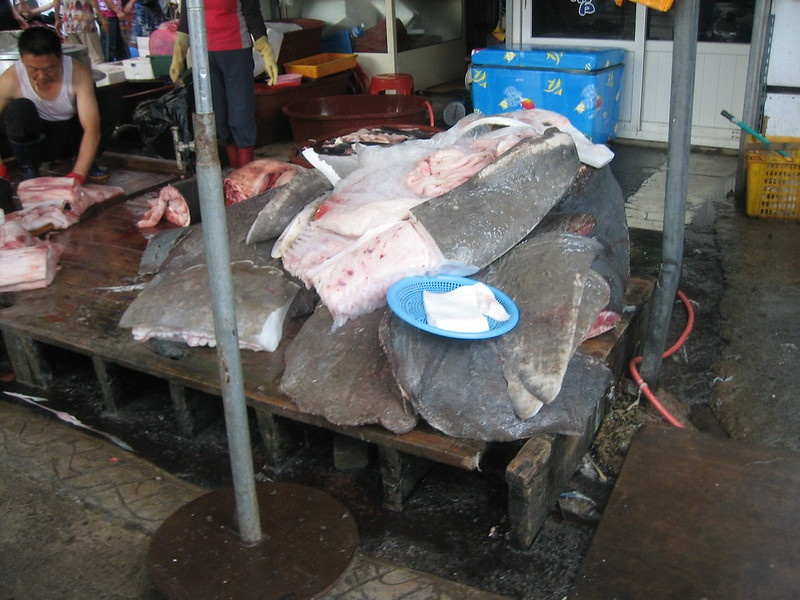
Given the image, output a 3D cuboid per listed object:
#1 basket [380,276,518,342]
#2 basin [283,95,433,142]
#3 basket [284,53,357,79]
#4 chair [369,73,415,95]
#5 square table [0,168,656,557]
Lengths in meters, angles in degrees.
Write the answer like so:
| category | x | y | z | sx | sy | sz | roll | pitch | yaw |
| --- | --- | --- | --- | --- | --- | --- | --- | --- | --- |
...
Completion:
| category | x | y | z | sx | sy | sz | roll | pitch | yaw |
| --- | --- | --- | --- | --- | --- | --- | --- | --- | --- |
| basket | 0.213 | 0.051 | 2.833 | 0.557 | 0.187 | 0.438 | 8 | 25 | 18 |
| basin | -0.433 | -1.864 | 6.989 | 1.339 | 0.412 | 1.427 | 0 | 24 | 0 |
| basket | -0.964 | -2.762 | 7.970 | 0.516 | 0.219 | 0.942 | 12 | 26 | 25 |
| chair | -0.100 | -2.414 | 7.724 | 0.417 | 0.293 | 0.375 | -3 | 29 | 3 |
| square table | -0.730 | 0.140 | 3.593 | 3.462 | 1.006 | 1.150 | 11 | 27 | 23 |
